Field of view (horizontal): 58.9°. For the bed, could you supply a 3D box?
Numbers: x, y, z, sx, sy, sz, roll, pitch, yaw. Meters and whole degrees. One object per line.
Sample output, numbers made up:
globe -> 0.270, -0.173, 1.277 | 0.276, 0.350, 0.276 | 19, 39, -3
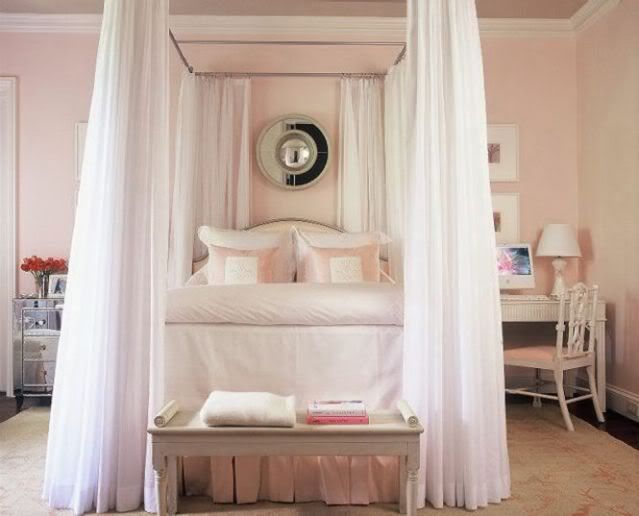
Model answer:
bed -> -0.161, 0.445, 4.058 | 1.615, 1.454, 2.161 | 1, 0, -4

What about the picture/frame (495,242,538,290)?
picture/frame -> 1.585, 0.079, 4.506 | 0.460, 0.413, 0.119 | -1, 0, 2

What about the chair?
chair -> 1.702, 0.680, 4.174 | 0.587, 0.958, 0.604 | 1, -2, -39

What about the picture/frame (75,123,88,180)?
picture/frame -> -1.957, -0.869, 4.623 | 0.101, 0.472, 0.097 | 0, 6, -7

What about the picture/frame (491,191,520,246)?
picture/frame -> 1.562, -0.332, 4.719 | 0.235, 0.418, 0.103 | 2, 6, 11

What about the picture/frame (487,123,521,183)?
picture/frame -> 1.547, -0.870, 4.733 | 0.265, 0.477, 0.073 | 0, 6, -2

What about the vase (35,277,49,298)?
vase -> -2.111, 0.218, 4.322 | 0.093, 0.149, 0.113 | -3, 7, -31

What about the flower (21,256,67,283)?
flower -> -2.156, 0.069, 4.455 | 0.263, 0.185, 0.377 | 0, 6, 0

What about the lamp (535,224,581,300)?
lamp -> 1.961, 0.013, 4.621 | 0.331, 0.558, 0.324 | 0, 0, 26

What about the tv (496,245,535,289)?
tv -> 1.586, 0.073, 4.508 | 0.450, 0.412, 0.116 | -1, 1, 3
